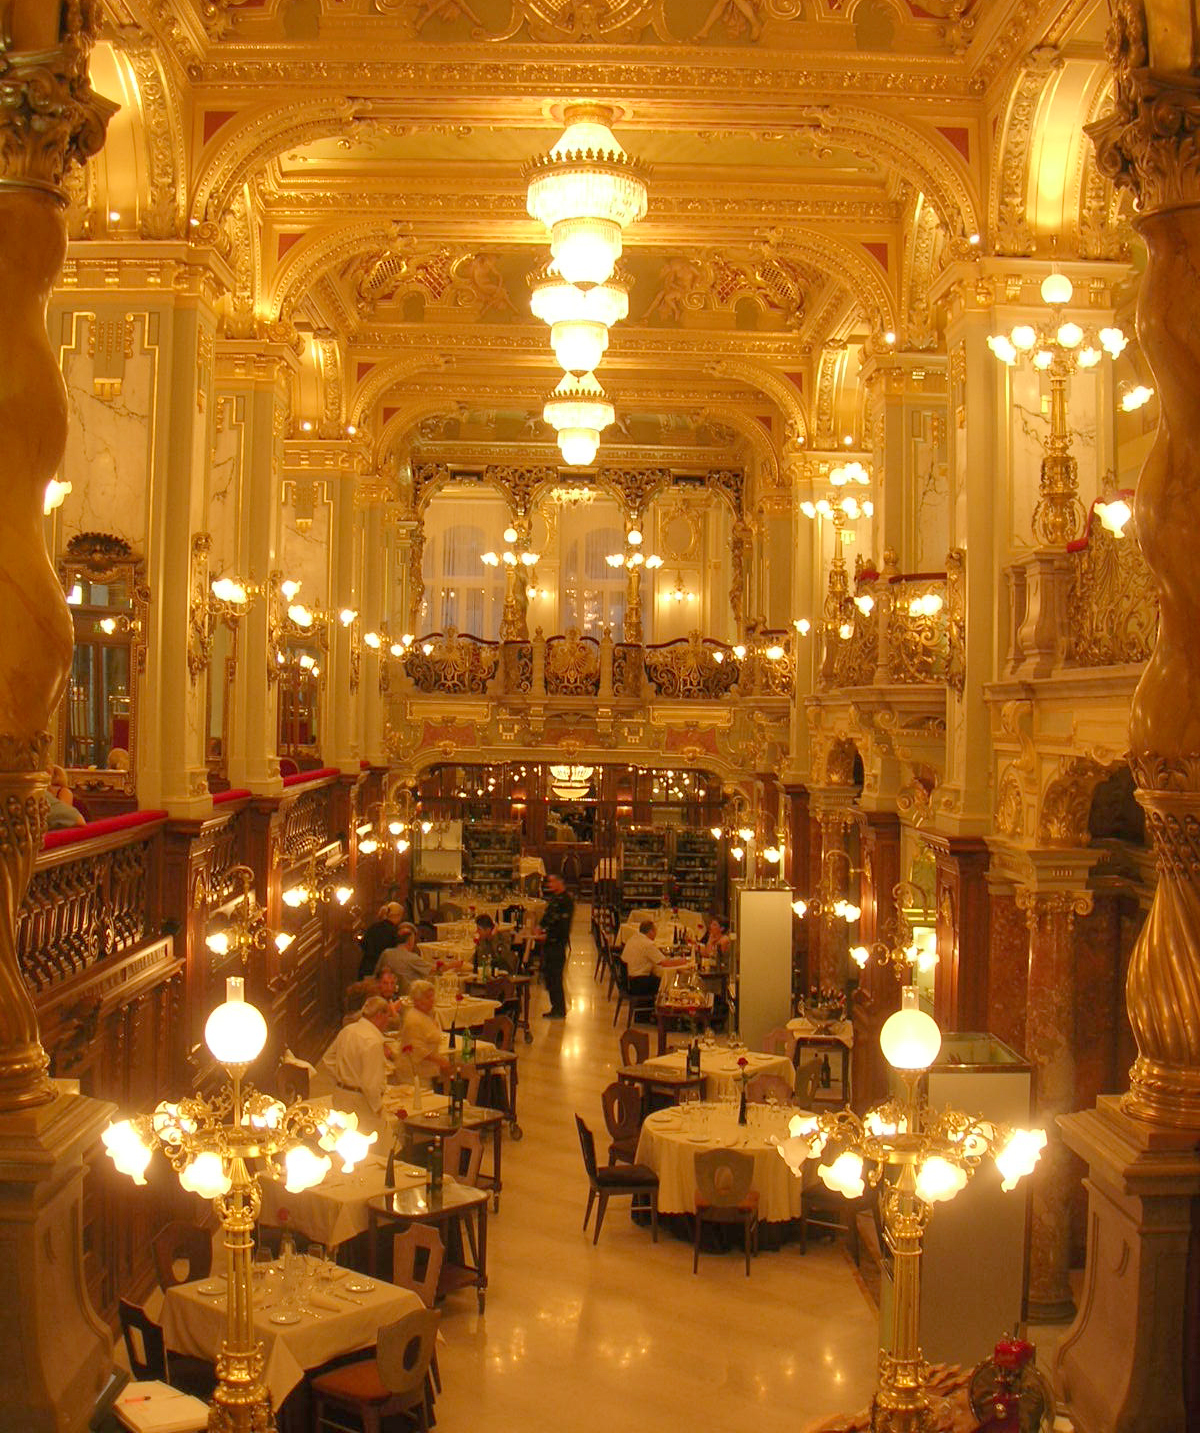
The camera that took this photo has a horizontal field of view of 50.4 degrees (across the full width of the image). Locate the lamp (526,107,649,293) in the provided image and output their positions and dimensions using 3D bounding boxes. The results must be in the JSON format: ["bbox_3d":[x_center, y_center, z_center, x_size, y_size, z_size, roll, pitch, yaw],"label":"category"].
[{"bbox_3d":[-0.088,-3.138,7.882,0.757,1.120,0.768,1,-4,-9],"label":"lamp"}]

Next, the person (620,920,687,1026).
[{"bbox_3d":[0.775,3.489,17.925,0.834,1.471,0.608,-4,20,-16],"label":"person"}]

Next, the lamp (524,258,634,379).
[{"bbox_3d":[-0.155,-2.632,8.527,0.652,0.686,0.704,1,13,4],"label":"lamp"}]

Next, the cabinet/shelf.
[{"bbox_3d":[2.044,2.636,6.898,0.509,1.554,0.770,1,-3,21],"label":"cabinet/shelf"}]

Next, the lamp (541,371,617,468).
[{"bbox_3d":[-0.172,-2.324,9.960,0.572,0.820,0.587,0,2,26],"label":"lamp"}]

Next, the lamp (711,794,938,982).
[{"bbox_3d":[2.412,1.881,13.656,1.447,2.752,2.736,-2,4,-10],"label":"lamp"}]

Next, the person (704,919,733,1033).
[{"bbox_3d":[1.571,3.553,17.103,0.462,0.861,1.446,0,6,-2],"label":"person"}]
